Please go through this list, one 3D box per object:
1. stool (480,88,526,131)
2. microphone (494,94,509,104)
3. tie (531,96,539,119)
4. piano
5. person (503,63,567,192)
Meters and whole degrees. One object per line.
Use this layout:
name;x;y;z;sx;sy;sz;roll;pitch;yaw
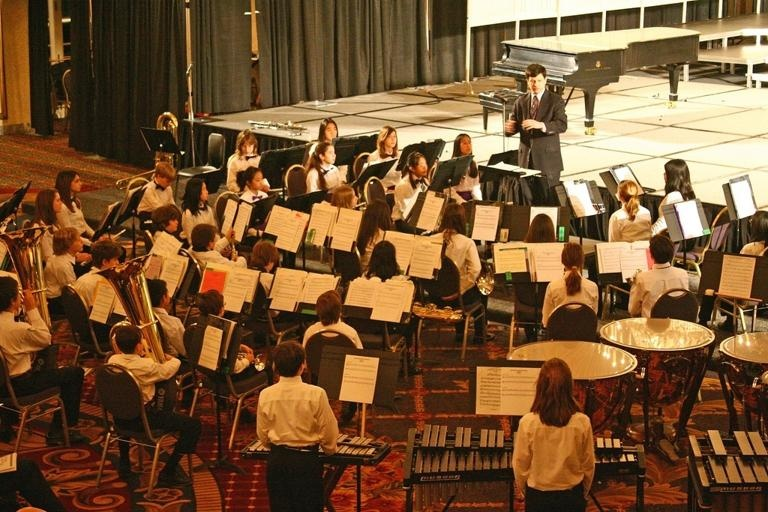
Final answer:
stool;2.130;-2.523;12.319;0.731;0.936;0.967;12;19;37
microphone;2.074;-2.784;11.946;0.087;0.190;0.324;-5;19;-28
tie;2.047;-2.007;9.117;0.121;0.305;0.036;1;2;17
piano;4.205;-3.472;12.986;3.844;1.615;2.201;-12;21;-29
person;2.103;-1.792;9.363;0.770;1.827;0.629;-8;21;-17
